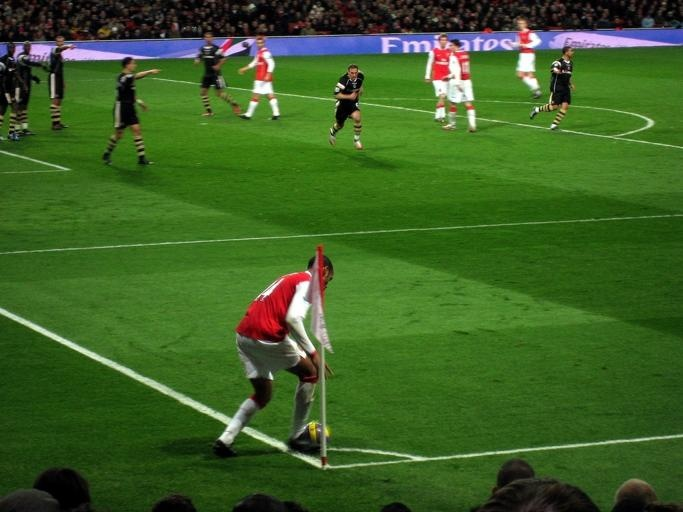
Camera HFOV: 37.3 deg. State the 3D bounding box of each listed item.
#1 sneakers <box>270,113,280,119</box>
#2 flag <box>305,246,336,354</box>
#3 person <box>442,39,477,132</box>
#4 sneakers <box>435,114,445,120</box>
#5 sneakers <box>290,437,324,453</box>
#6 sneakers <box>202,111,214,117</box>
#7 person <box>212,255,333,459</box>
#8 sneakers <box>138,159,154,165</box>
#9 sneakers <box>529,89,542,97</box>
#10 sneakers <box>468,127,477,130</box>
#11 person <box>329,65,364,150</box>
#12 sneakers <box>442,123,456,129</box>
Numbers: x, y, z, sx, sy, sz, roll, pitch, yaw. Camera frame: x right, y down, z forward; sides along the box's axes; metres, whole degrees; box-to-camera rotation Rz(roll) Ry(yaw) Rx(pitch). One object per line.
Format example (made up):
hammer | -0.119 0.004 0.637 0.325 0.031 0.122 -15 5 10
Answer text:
sneakers | -1.615 -3.424 24.968 0.195 0.141 0.285 2 7 -5
flag | -0.173 0.387 8.919 0.249 0.981 0.482 5 11 -2
person | 2.809 -3.899 23.300 0.802 2.085 1.084 6 11 4
sneakers | 2.395 -3.362 24.554 0.319 0.090 0.314 2 6 1
sneakers | -0.313 1.726 9.214 0.237 0.045 0.146 7 5 27
sneakers | -3.402 -3.575 25.568 0.363 0.092 0.111 4 16 26
person | -0.592 0.853 9.094 0.946 1.901 0.567 4 11 -1
sneakers | -3.769 -1.829 19.653 0.368 0.076 0.185 -3 -15 -7
sneakers | 5.564 -4.638 28.934 0.323 0.164 0.261 -9 3 28
sneakers | 3.014 -2.922 23.265 0.250 0.059 0.245 0 0 -2
person | 0.175 -3.040 20.883 0.701 1.694 1.206 5 10 0
sneakers | 2.493 -2.983 23.478 0.273 0.049 0.221 1 1 22
